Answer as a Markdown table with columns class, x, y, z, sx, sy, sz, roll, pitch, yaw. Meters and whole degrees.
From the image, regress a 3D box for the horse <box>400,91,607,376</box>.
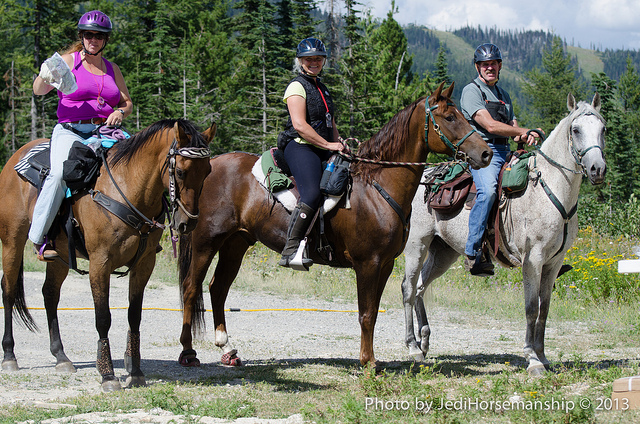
| class | x | y | z | sx | sy | sz | roll | pitch | yaw |
| --- | --- | --- | --- | --- | --- | --- | --- | --- | --- |
| horse | 3.731 | 0.712 | 18.339 | 1.641 | 5.113 | 6.489 | 5 | -7 | -32 |

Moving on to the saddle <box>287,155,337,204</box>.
| class | x | y | z | sx | sy | sz | roll | pitch | yaw |
| --- | --- | --- | --- | --- | --- | --- | --- | --- | --- |
| saddle | -0.086 | -0.629 | 17.079 | 0.712 | 1.055 | 1.541 | 1 | 2 | 5 |

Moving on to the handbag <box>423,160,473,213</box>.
| class | x | y | z | sx | sy | sz | roll | pitch | yaw |
| --- | --- | --- | --- | --- | --- | --- | --- | --- | --- |
| handbag | 2.652 | -0.501 | 18.377 | 0.414 | 1.152 | 1.127 | 20 | -33 | -5 |

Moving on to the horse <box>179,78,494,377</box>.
| class | x | y | z | sx | sy | sz | roll | pitch | yaw |
| --- | --- | --- | --- | --- | --- | --- | --- | --- | --- |
| horse | 0.009 | 0.556 | 17.594 | 7.247 | 5.373 | 1.776 | -1 | -4 | 27 |

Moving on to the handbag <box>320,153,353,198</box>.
| class | x | y | z | sx | sy | sz | roll | pitch | yaw |
| --- | --- | --- | --- | --- | --- | --- | --- | --- | --- |
| handbag | 0.262 | -0.682 | 16.847 | 0.476 | 0.854 | 0.651 | 25 | -20 | -16 |

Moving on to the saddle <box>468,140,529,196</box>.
| class | x | y | z | sx | sy | sz | roll | pitch | yaw |
| --- | --- | --- | --- | --- | --- | --- | --- | --- | --- |
| saddle | 3.511 | -0.870 | 17.171 | 0.497 | 1.036 | 1.911 | 3 | 2 | 13 |

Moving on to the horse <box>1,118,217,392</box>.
| class | x | y | z | sx | sy | sz | roll | pitch | yaw |
| --- | --- | --- | --- | --- | --- | --- | --- | --- | --- |
| horse | -4.079 | 0.700 | 16.441 | 4.177 | 4.958 | 1.085 | 3 | 8 | 20 |

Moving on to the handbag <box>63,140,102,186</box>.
| class | x | y | z | sx | sy | sz | roll | pitch | yaw |
| --- | --- | --- | --- | --- | --- | --- | --- | --- | --- |
| handbag | -4.406 | -0.894 | 16.274 | 0.695 | 0.848 | 0.486 | 3 | -23 | 9 |

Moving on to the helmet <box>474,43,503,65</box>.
| class | x | y | z | sx | sy | sz | roll | pitch | yaw |
| --- | --- | --- | --- | --- | --- | --- | --- | --- | --- |
| helmet | 3.398 | -3.231 | 17.687 | 0.539 | 0.389 | 0.406 | 2 | 8 | 8 |

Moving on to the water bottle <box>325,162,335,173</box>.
| class | x | y | z | sx | sy | sz | roll | pitch | yaw |
| --- | --- | --- | --- | --- | --- | --- | --- | --- | --- |
| water bottle | 0.202 | -0.869 | 16.642 | 0.156 | 0.173 | 0.087 | 3 | 8 | 20 |
